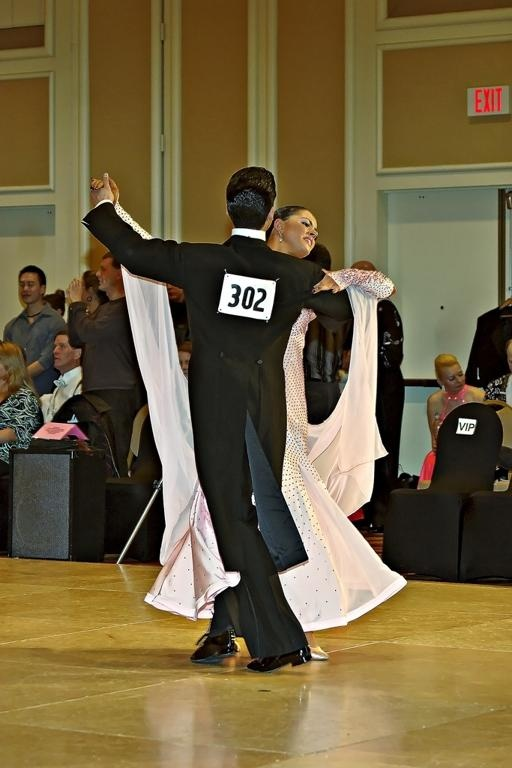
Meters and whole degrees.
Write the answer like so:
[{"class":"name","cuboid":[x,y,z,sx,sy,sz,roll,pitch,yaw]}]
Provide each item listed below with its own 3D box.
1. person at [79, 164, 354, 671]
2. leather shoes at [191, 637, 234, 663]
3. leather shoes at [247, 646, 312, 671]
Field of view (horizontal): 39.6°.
[{"class":"person","cuboid":[-0.105,0.098,2.139,0.686,1.474,0.377,0,3,6]},{"class":"leather shoes","cuboid":[-0.121,0.803,2.142,0.127,0.087,0.067,0,-4,20]},{"class":"leather shoes","cuboid":[0.070,0.781,2.045,0.188,0.080,0.067,-3,0,-6]}]
